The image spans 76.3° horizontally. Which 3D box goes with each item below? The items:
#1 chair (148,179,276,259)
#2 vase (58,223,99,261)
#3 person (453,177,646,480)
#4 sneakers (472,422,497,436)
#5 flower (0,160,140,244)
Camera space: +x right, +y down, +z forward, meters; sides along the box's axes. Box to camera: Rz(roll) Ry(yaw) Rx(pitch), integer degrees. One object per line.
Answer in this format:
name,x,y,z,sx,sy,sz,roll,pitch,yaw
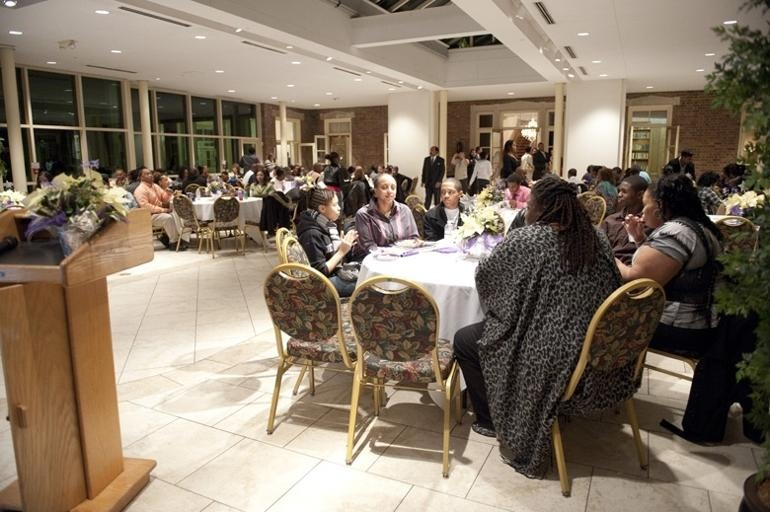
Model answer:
chair,-2.981,-0.988,8.993,1.576,0.780,1.528,10,20,28
vase,-1.540,-0.082,2.462,0.176,0.160,0.133,-6,15,-24
person,1.047,0.365,3.250,1.055,1.658,1.035,-4,5,-39
sneakers,0.660,1.136,3.309,0.171,0.063,0.071,12,-2,24
flower,-1.631,-0.260,2.553,0.518,0.371,0.273,1,14,2
